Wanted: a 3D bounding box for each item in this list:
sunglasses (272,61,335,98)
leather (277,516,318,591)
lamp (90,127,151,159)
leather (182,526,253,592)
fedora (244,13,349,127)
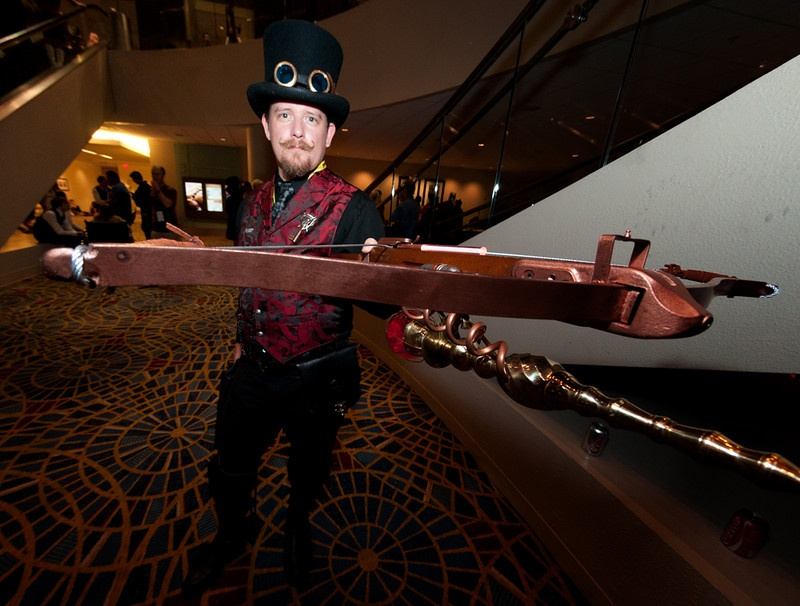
[{"bbox_3d":[-0.429,-1.007,2.144,0.217,0.142,0.054,7,-1,-8],"label":"sunglasses"},{"bbox_3d":[-0.468,1.165,2.257,0.077,0.303,0.206,3,2,-27],"label":"leather"},{"bbox_3d":[-5.341,-3.145,9.236,0.937,0.363,2.842,1,16,-29],"label":"lamp"},{"bbox_3d":[-0.856,1.195,2.283,0.140,0.159,0.411,49,54,2],"label":"leather"},{"bbox_3d":[-0.454,-1.072,2.150,0.457,0.323,0.458,6,-3,-7],"label":"fedora"}]
